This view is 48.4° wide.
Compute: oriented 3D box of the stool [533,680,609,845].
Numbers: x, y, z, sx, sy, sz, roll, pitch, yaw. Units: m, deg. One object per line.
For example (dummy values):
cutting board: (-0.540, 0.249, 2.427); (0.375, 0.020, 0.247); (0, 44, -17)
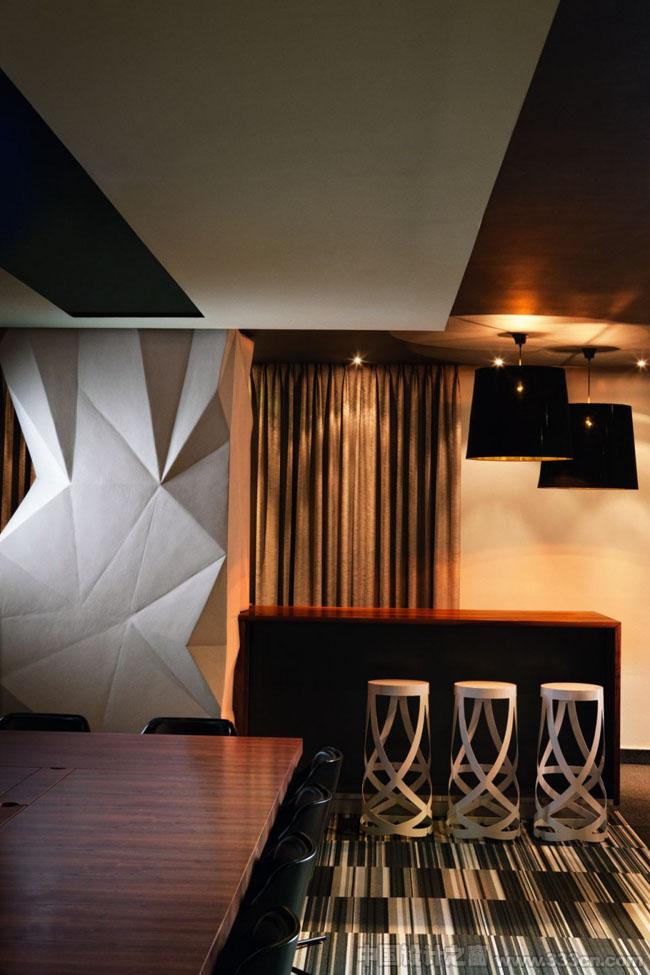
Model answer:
stool: (1.283, 1.437, 3.845); (0.361, 0.758, 0.374); (-4, -9, 44)

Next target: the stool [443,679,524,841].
stool: (0.829, 1.422, 3.865); (0.357, 0.775, 0.398); (0, -5, 18)

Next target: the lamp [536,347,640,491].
lamp: (1.697, -0.372, 4.571); (0.517, 0.925, 0.548); (2, 4, 24)

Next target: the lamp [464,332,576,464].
lamp: (1.002, -0.490, 3.789); (0.500, 0.692, 0.539); (1, 1, -21)
